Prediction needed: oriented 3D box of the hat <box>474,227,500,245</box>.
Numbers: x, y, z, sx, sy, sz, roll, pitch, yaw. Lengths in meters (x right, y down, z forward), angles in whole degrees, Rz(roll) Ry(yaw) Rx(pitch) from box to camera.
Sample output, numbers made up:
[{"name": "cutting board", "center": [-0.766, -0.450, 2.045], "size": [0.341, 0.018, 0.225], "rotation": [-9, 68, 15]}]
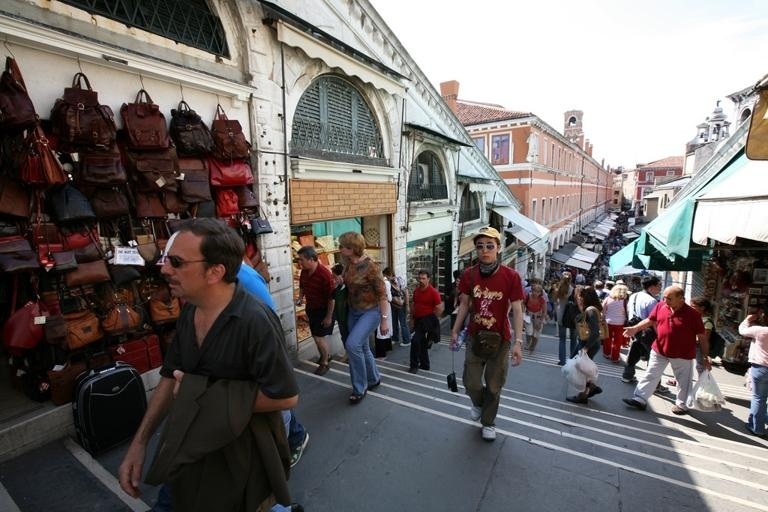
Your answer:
[{"name": "hat", "center": [1.426, -0.296, 6.421], "size": [0.353, 0.213, 0.654], "rotation": [6, 8, 11]}]

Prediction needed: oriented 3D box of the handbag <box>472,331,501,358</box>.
[{"name": "handbag", "center": [1.394, 1.186, 6.208], "size": [0.306, 0.303, 0.191], "rotation": [10, 5, 4]}]

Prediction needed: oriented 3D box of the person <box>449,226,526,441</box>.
[{"name": "person", "center": [1.404, 1.018, 6.327], "size": [0.956, 2.786, 0.610], "rotation": [7, 8, 20]}]

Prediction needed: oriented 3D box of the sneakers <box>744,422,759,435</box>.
[{"name": "sneakers", "center": [5.432, 2.544, 6.818], "size": [0.124, 0.120, 0.204], "rotation": [-2, 10, -38]}]

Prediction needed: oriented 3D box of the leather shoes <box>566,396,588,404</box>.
[{"name": "leather shoes", "center": [3.094, 2.286, 7.431], "size": [0.312, 0.119, 0.123], "rotation": [3, 3, 21]}]

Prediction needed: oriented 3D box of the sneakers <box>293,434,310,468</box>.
[{"name": "sneakers", "center": [-1.066, 2.471, 5.902], "size": [0.128, 0.387, 0.160], "rotation": [2, -31, 15]}]

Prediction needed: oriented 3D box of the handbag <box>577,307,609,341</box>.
[{"name": "handbag", "center": [3.683, 1.148, 7.917], "size": [0.237, 0.544, 0.509], "rotation": [-29, -1, -17]}]

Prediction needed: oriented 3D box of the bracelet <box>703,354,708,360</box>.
[{"name": "bracelet", "center": [4.841, 1.531, 6.978], "size": [0.042, 0.042, 0.037], "rotation": [-9, -8, -42]}]

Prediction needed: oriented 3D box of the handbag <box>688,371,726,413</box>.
[{"name": "handbag", "center": [4.774, 1.902, 6.937], "size": [0.250, 0.482, 0.416], "rotation": [22, 35, 21]}]
